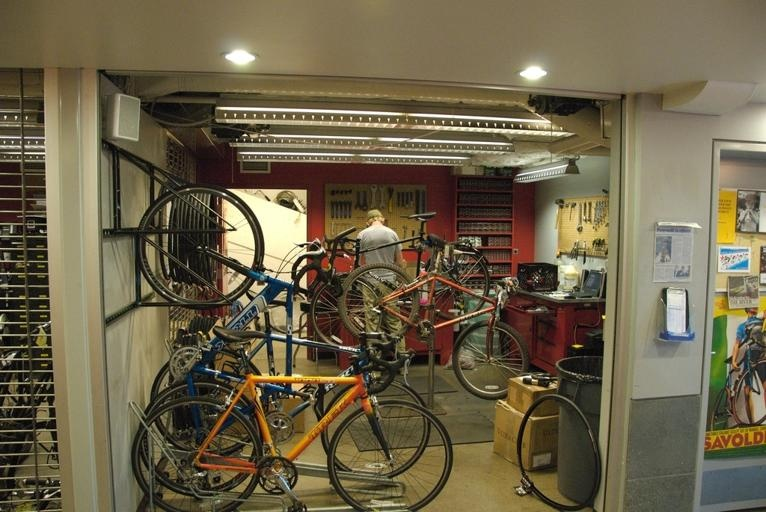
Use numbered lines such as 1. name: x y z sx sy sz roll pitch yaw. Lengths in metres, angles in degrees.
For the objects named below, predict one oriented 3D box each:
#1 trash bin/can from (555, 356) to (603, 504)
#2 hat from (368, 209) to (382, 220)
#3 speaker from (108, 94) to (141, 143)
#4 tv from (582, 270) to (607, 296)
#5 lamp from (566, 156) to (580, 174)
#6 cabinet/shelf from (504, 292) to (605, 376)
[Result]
1. trash bin/can: 1.649 1.501 5.717 0.312 1.148 0.662 1 2 6
2. hat: -0.101 -0.504 8.210 0.220 0.112 0.321 -1 5 -4
3. speaker: -1.939 -1.035 5.033 0.128 0.332 0.242 2 2 16
4. tv: 2.648 0.351 8.347 0.106 0.206 0.304 8 0 -4
5. lamp: 2.296 -1.104 8.135 0.141 0.219 0.391 2 2 16
6. cabinet/shelf: 2.137 0.845 8.416 0.955 0.935 1.410 2 6 -5
